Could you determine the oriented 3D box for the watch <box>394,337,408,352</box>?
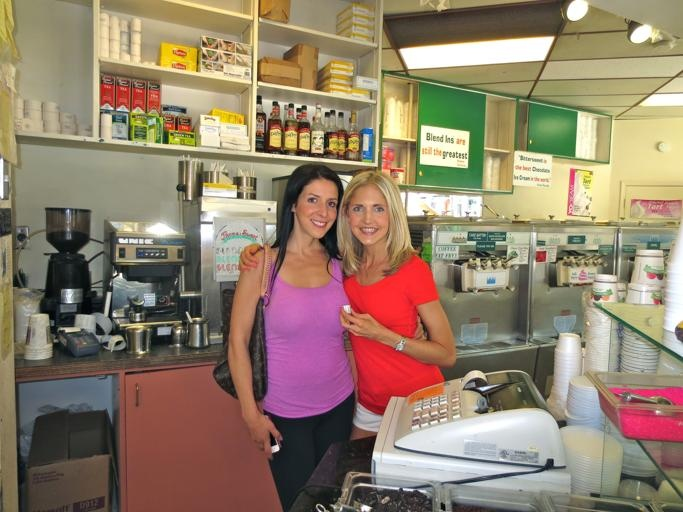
[{"bbox_3d":[0.237,0.352,1.994,0.041,0.057,0.055,22,-4,-15],"label":"watch"}]

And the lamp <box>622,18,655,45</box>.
[{"bbox_3d":[1.898,-1.438,3.171,0.143,0.169,0.269,4,7,29],"label":"lamp"}]

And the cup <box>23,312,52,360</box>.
[{"bbox_3d":[-1.477,0.380,2.421,0.120,0.204,0.185,-3,8,-29],"label":"cup"}]

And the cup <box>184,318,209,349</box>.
[{"bbox_3d":[-0.766,0.410,2.638,0.124,0.141,0.147,1,-3,-20],"label":"cup"}]

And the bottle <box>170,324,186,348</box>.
[{"bbox_3d":[-0.872,0.418,2.676,0.069,0.112,0.086,4,7,23],"label":"bottle"}]

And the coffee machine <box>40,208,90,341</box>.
[{"bbox_3d":[-1.533,0.057,2.777,0.253,0.635,0.319,-3,7,-27],"label":"coffee machine"}]

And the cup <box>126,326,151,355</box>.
[{"bbox_3d":[-1.042,0.419,2.545,0.119,0.130,0.130,1,7,0],"label":"cup"}]

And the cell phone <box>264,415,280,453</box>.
[{"bbox_3d":[-0.277,0.723,1.959,0.055,0.067,0.019,2,3,29],"label":"cell phone"}]

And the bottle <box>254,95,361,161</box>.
[{"bbox_3d":[-0.263,-0.879,3.486,0.548,0.243,0.074,1,-1,-21],"label":"bottle"}]

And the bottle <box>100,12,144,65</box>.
[{"bbox_3d":[-1.312,-1.263,2.951,0.231,0.280,0.141,-2,7,-24],"label":"bottle"}]

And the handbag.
[{"bbox_3d":[-0.397,0.276,2.008,0.242,0.619,0.183,-1,7,-14],"label":"handbag"}]

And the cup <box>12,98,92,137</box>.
[{"bbox_3d":[-1.665,-0.786,2.886,0.380,0.188,0.116,-3,8,-29],"label":"cup"}]
